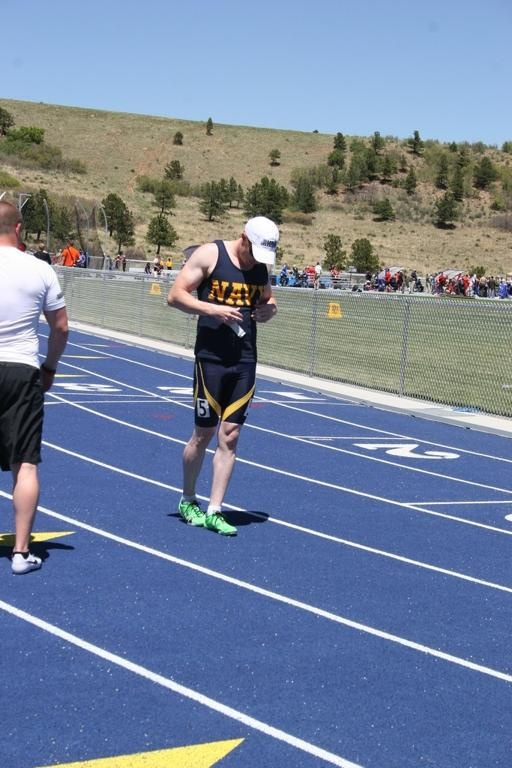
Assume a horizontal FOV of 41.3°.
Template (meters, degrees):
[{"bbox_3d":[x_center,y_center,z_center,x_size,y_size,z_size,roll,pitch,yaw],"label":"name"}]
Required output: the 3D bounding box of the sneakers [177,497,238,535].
[{"bbox_3d":[-0.364,0.919,4.826,0.507,0.229,0.174,9,8,32],"label":"sneakers"}]

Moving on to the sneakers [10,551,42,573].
[{"bbox_3d":[-1.244,0.956,3.683,0.092,0.084,0.179,2,6,6],"label":"sneakers"}]

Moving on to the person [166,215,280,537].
[{"bbox_3d":[-0.254,-0.022,4.483,0.679,2.143,0.702,5,3,4],"label":"person"}]

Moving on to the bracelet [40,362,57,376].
[{"bbox_3d":[-1.163,-0.088,3.797,0.079,0.046,0.070,20,5,18],"label":"bracelet"}]
